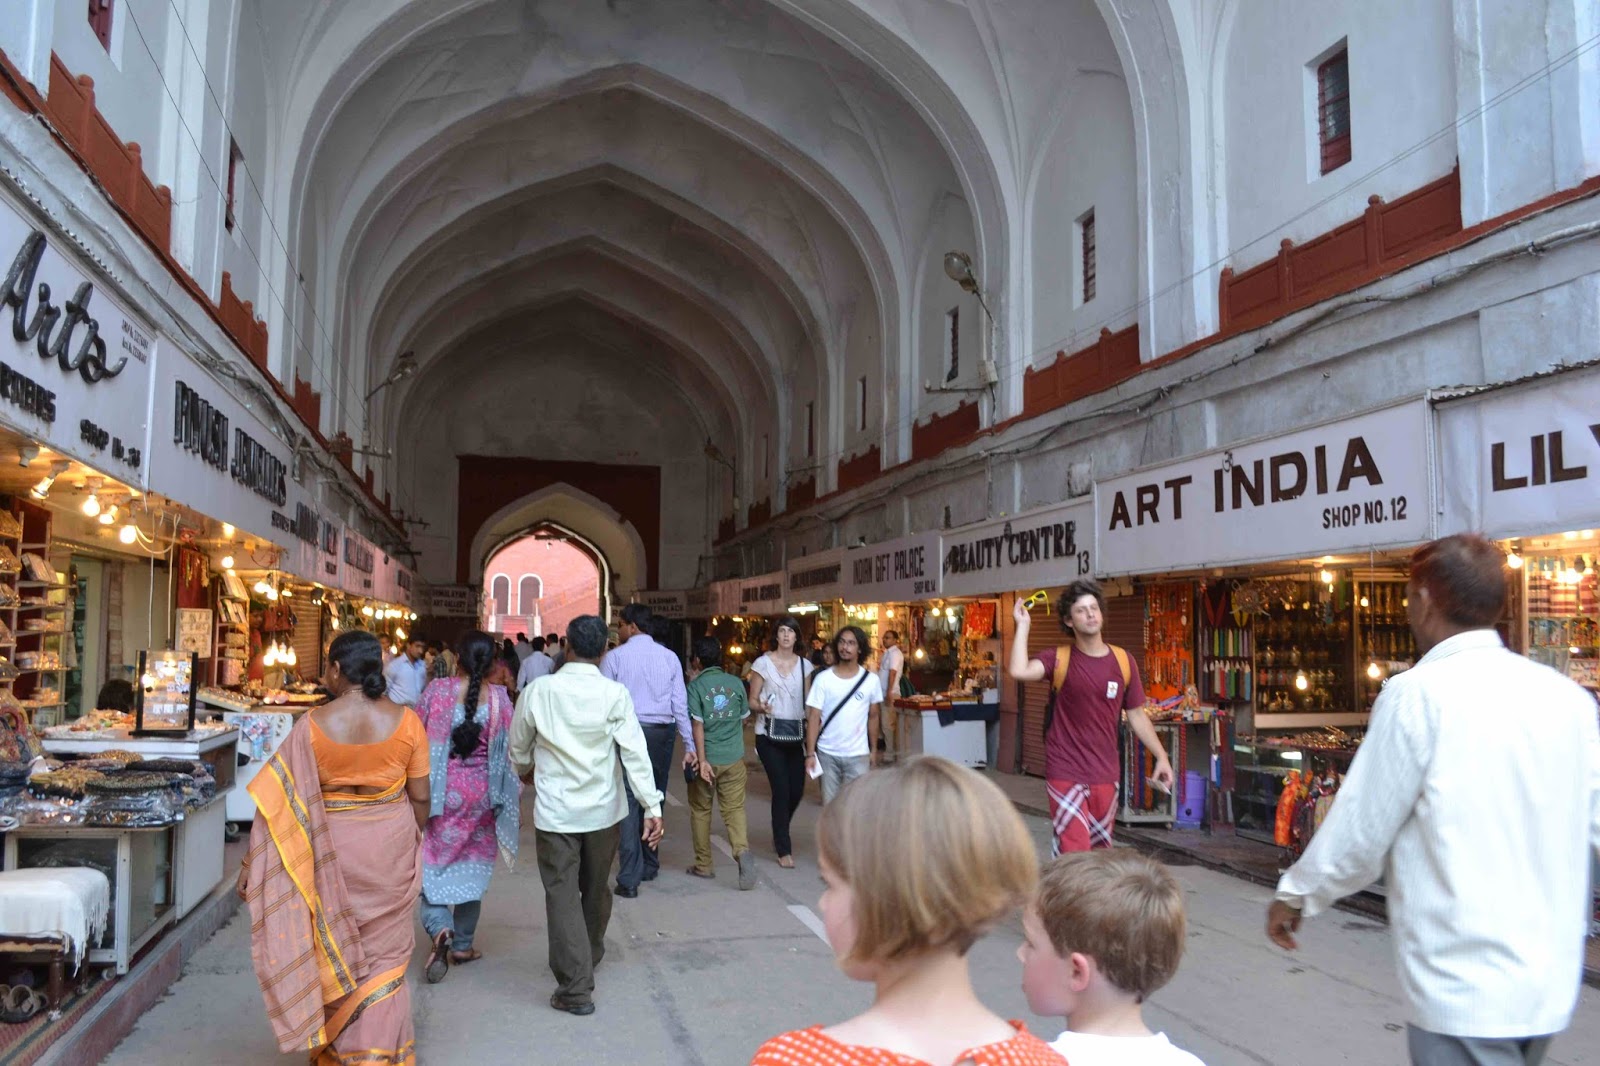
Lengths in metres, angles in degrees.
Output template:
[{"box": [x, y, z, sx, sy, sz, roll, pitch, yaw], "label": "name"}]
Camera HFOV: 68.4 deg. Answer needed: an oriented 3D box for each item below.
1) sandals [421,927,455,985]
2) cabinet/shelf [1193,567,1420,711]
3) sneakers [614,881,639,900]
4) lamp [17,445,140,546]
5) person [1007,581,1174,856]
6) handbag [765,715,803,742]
[{"box": [-2.291, 2.687, 7.428, 0.115, 0.338, 0.138, 9, -27, -11], "label": "sandals"}, {"box": [5.051, 1.068, 11.809, 1.461, 1.334, 0.507, 0, -3, -7], "label": "cabinet/shelf"}, {"box": [-1.349, 2.779, 9.161, 0.182, 0.083, 0.092, -2, -2, 23], "label": "sneakers"}, {"box": [-5.444, -0.286, 8.934, 0.681, 0.280, 1.115, 4, -12, 12], "label": "lamp"}, {"box": [1.742, 1.385, 7.185, 0.965, 2.050, 0.651, -1, 9, -8], "label": "person"}, {"box": [-0.148, 1.683, 10.216, 0.273, 0.218, 0.186, 4, 4, -2], "label": "handbag"}]
